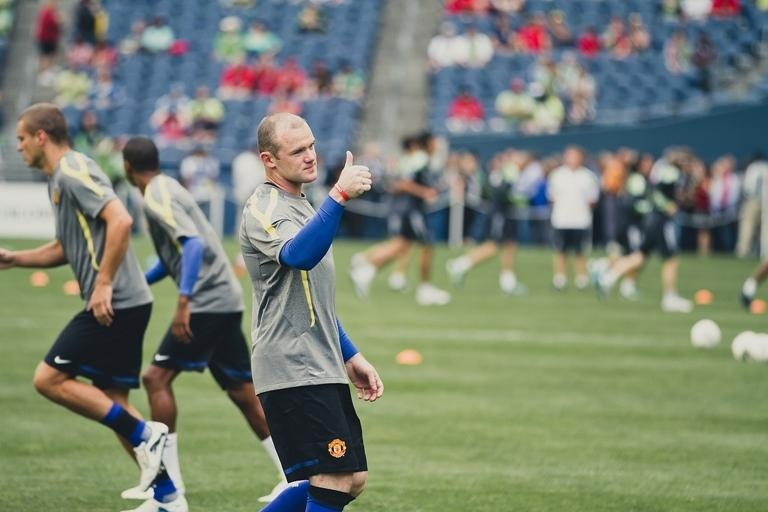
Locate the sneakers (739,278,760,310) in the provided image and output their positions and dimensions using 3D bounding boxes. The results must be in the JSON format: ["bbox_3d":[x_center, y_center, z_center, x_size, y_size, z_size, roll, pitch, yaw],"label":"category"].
[{"bbox_3d":[6.703,0.659,31.478,0.296,0.605,0.238,44,-45,-19],"label":"sneakers"}]
